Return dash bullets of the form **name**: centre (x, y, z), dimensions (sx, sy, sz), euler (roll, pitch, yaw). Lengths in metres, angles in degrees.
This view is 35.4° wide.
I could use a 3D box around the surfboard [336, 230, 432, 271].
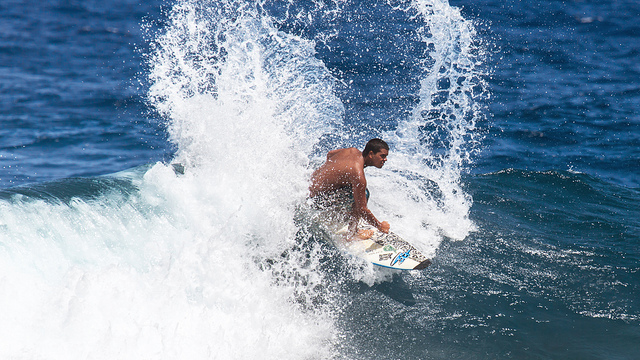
- **surfboard**: centre (1.928, 2.123, 29.757), dimensions (3.542, 0.461, 0.940), euler (13, 56, 21)
